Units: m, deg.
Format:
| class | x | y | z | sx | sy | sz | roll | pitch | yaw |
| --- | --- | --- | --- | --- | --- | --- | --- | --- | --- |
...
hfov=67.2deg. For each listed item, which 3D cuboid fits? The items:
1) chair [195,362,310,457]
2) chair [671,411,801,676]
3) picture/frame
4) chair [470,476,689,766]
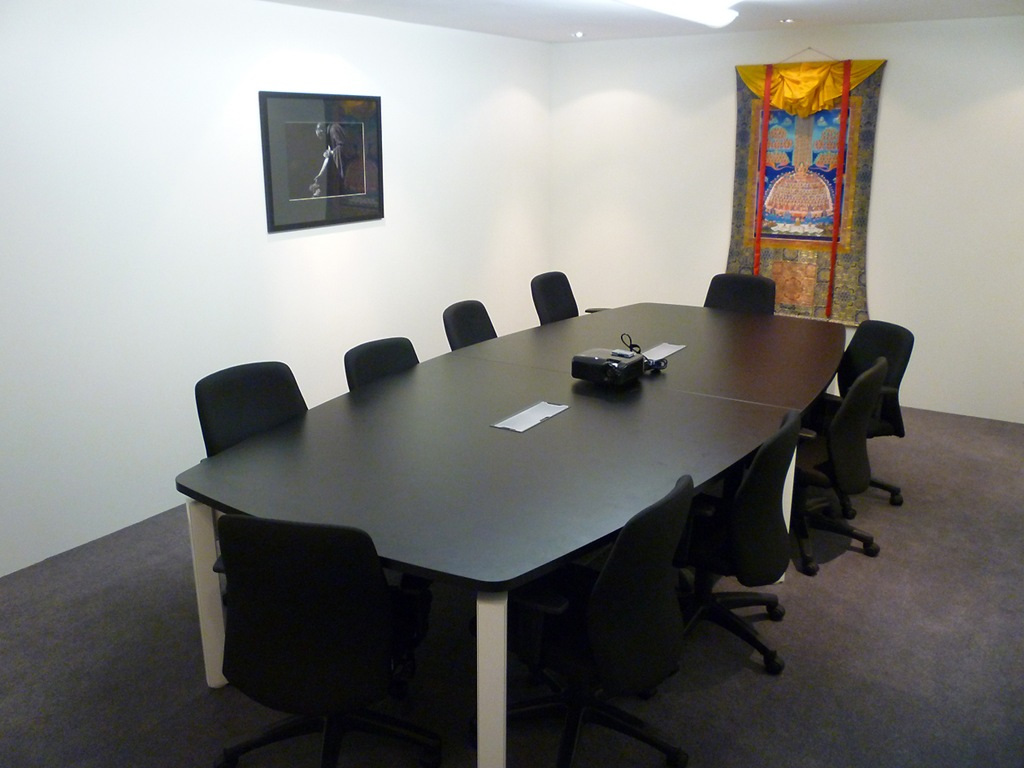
| class | x | y | z | sx | sy | sz | roll | pitch | yaw |
| --- | --- | --- | --- | --- | --- | --- | --- | --- | --- |
| chair | -1.332 | 0.007 | 3.852 | 0.414 | 0.623 | 0.470 | -20 | 16 | -33 |
| chair | 0.969 | 0.683 | 3.718 | 0.661 | 1.140 | 0.780 | -2 | 15 | 2 |
| picture/frame | -1.402 | -1.613 | 5.505 | 0.037 | 0.992 | 0.959 | 16 | 24 | 41 |
| chair | 0.341 | 0.956 | 2.983 | 0.720 | 1.215 | 0.507 | 3 | 16 | 14 |
